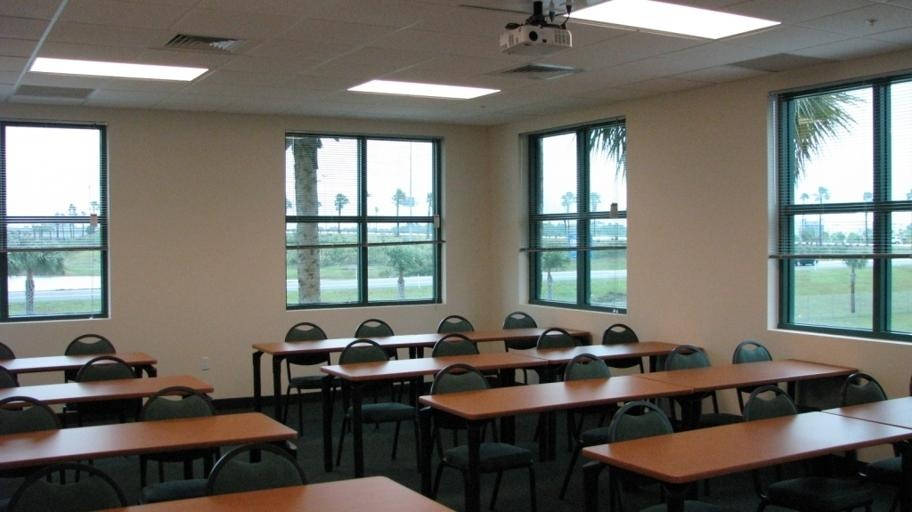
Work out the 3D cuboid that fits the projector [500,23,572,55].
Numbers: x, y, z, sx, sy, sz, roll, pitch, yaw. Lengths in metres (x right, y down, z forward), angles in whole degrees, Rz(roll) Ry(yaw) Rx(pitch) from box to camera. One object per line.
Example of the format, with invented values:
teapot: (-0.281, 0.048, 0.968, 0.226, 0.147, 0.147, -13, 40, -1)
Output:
projector: (0.804, -2.103, 6.478, 0.417, 0.130, 0.386, -1, 1, -27)
